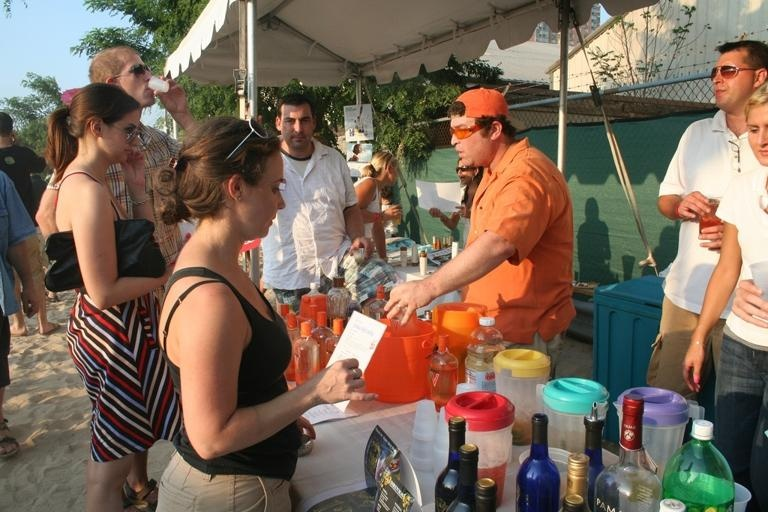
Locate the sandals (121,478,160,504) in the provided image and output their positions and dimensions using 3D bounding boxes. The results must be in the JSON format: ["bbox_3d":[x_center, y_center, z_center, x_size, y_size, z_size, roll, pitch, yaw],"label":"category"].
[{"bbox_3d":[-1.462,1.446,3.729,0.283,0.111,0.094,0,6,-15],"label":"sandals"}]

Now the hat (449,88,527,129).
[{"bbox_3d":[0.618,-0.875,3.632,0.364,0.197,0.230,0,15,-18],"label":"hat"}]

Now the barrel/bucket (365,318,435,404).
[{"bbox_3d":[0.084,0.524,3.138,0.394,0.284,0.405,-2,2,0],"label":"barrel/bucket"}]

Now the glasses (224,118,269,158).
[{"bbox_3d":[-0.569,-0.462,2.572,0.057,0.171,0.161,39,13,-27],"label":"glasses"}]

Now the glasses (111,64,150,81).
[{"bbox_3d":[-1.588,-1.169,3.830,0.147,0.044,0.140,-9,20,9],"label":"glasses"}]

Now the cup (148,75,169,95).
[{"bbox_3d":[-1.460,-1.117,3.957,0.109,0.111,0.232,-3,8,-12],"label":"cup"}]

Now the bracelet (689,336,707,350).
[{"bbox_3d":[1.767,0.491,3.424,0.068,0.071,0.068,-1,1,-11],"label":"bracelet"}]
